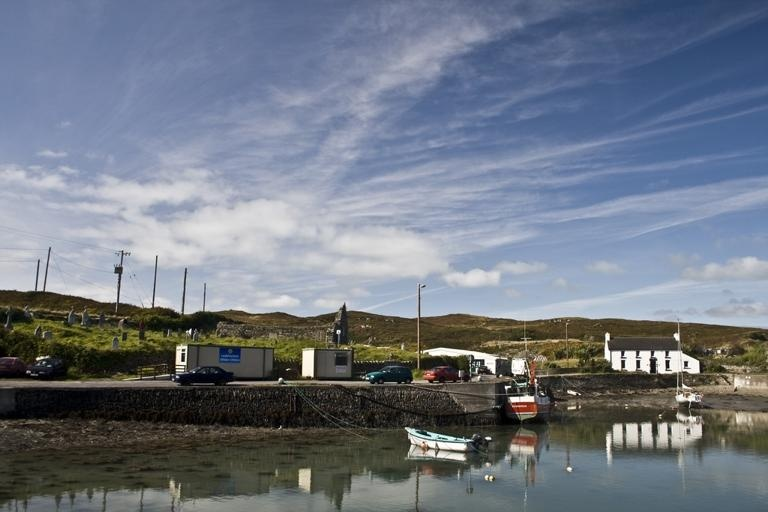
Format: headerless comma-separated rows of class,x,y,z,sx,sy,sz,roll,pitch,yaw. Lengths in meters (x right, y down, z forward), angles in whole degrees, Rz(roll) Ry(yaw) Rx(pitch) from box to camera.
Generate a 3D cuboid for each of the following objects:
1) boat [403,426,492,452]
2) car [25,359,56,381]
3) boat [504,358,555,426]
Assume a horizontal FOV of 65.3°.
boat,4.215,16.273,52.565,8.005,1.255,2.378,-2,-14,26
car,-32.907,11.109,58.181,1.865,1.923,2.314,4,-3,23
boat,16.194,15.584,67.270,4.001,6.200,4.288,4,-3,24
